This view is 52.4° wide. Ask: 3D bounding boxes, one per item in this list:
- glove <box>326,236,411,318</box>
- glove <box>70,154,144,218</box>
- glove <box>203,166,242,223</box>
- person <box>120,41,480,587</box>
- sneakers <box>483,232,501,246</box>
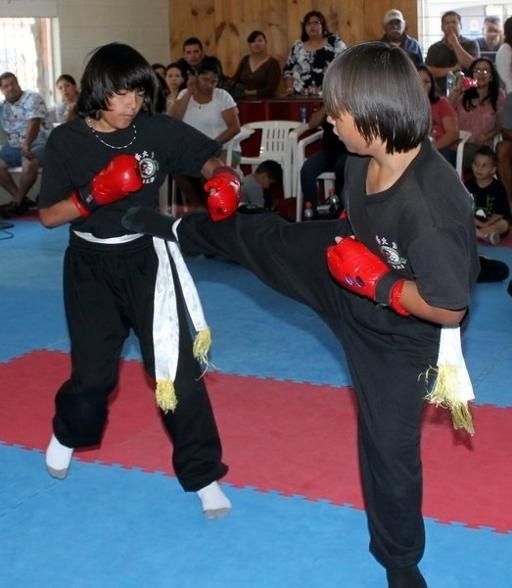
[{"bbox_3d":[0.232,-0.038,1.160,0.109,0.070,0.223,-24,48,-30],"label":"glove"},{"bbox_3d":[-0.438,-0.326,1.611,0.084,0.207,0.140,-5,59,-56],"label":"glove"},{"bbox_3d":[-0.092,-0.282,1.513,0.115,0.059,0.183,8,46,12],"label":"glove"},{"bbox_3d":[0.231,0.123,1.333,0.331,1.359,0.737,-14,18,-36],"label":"person"},{"bbox_3d":[2.414,-0.573,5.337,0.130,0.127,0.129,-11,13,-29],"label":"sneakers"}]
